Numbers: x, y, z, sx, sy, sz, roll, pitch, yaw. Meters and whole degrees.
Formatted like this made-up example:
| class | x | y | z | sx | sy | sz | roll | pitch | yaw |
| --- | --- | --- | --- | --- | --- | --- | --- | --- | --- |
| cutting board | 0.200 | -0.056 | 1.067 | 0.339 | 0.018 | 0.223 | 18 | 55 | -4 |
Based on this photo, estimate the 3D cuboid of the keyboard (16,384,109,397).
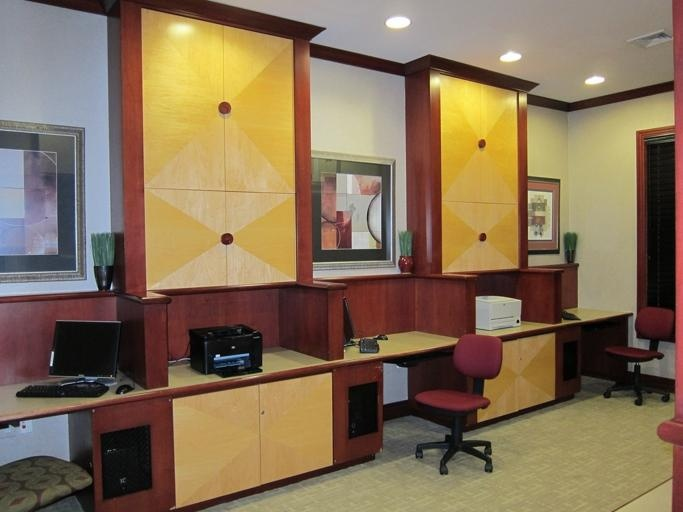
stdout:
| class | x | y | z | sx | sy | sz | roll | pitch | yaw |
| --- | --- | --- | --- | --- | --- | --- | --- | --- | --- |
| keyboard | -1.929 | 0.934 | 3.959 | 0.577 | 0.045 | 0.216 | 0 | 10 | 0 |

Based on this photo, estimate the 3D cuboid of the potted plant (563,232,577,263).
| class | x | y | z | sx | sy | sz | roll | pitch | yaw |
| --- | --- | --- | --- | --- | --- | --- | --- | --- | --- |
| potted plant | 2.916 | -0.099 | 7.180 | 0.193 | 0.376 | 0.123 | -1 | 10 | -6 |

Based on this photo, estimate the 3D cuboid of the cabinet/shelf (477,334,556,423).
| class | x | y | z | sx | sy | sz | roll | pitch | yaw |
| --- | --- | --- | --- | --- | --- | --- | --- | --- | --- |
| cabinet/shelf | 1.659 | 1.184 | 5.480 | 0.906 | 0.587 | 0.314 | -1 | -2 | -40 |

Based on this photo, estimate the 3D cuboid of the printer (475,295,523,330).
| class | x | y | z | sx | sy | sz | roll | pitch | yaw |
| --- | --- | --- | --- | --- | --- | --- | --- | --- | --- |
| printer | 1.583 | 0.588 | 5.766 | 0.353 | 0.232 | 0.349 | -3 | 5 | -38 |

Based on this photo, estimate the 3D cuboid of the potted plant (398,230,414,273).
| class | x | y | z | sx | sy | sz | roll | pitch | yaw |
| --- | --- | --- | --- | --- | --- | --- | --- | --- | --- |
| potted plant | 0.652 | -0.041 | 5.737 | 0.158 | 0.408 | 0.147 | 1 | 10 | 4 |

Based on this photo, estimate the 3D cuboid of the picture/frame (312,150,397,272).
| class | x | y | z | sx | sy | sz | roll | pitch | yaw |
| --- | --- | --- | --- | --- | --- | --- | --- | --- | --- |
| picture/frame | 0.086 | -0.441 | 5.473 | 1.159 | 1.194 | 0.051 | 0 | -3 | -34 |

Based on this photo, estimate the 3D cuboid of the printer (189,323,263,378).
| class | x | y | z | sx | sy | sz | roll | pitch | yaw |
| --- | --- | --- | --- | --- | --- | --- | --- | --- | --- |
| printer | -0.932 | 0.728 | 4.402 | 0.378 | 0.272 | 0.387 | -1 | 1 | -42 |

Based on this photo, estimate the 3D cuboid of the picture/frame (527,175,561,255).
| class | x | y | z | sx | sy | sz | roll | pitch | yaw |
| --- | --- | --- | --- | --- | --- | --- | --- | --- | --- |
| picture/frame | 2.462 | -0.496 | 6.972 | 0.964 | 1.046 | 0.046 | 0 | -2 | -38 |

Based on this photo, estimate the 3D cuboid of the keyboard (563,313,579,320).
| class | x | y | z | sx | sy | sz | roll | pitch | yaw |
| --- | --- | --- | --- | --- | --- | --- | --- | --- | --- |
| keyboard | 2.537 | 0.677 | 6.307 | 0.069 | 0.089 | 0.212 | -4 | -2 | -11 |
